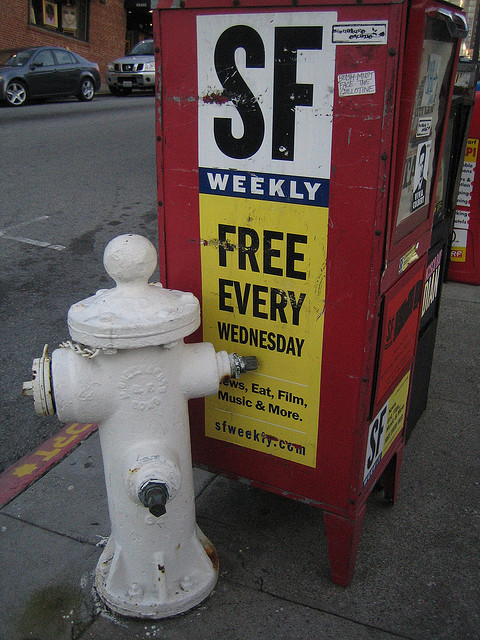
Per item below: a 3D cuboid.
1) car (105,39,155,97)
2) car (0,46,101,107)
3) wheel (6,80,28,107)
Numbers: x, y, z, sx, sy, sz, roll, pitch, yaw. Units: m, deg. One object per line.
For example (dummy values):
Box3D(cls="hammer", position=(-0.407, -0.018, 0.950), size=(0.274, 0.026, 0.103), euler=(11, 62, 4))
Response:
Box3D(cls="car", position=(-3.533, -8.235, 19.829), size=(1.590, 1.684, 2.149), euler=(-12, 28, -24))
Box3D(cls="car", position=(-5.041, -6.522, 15.978), size=(1.284, 1.098, 2.740), euler=(15, 29, 20))
Box3D(cls="wheel", position=(-5.718, -5.805, 15.257), size=(0.133, 0.522, 0.456), euler=(5, 7, 13))
